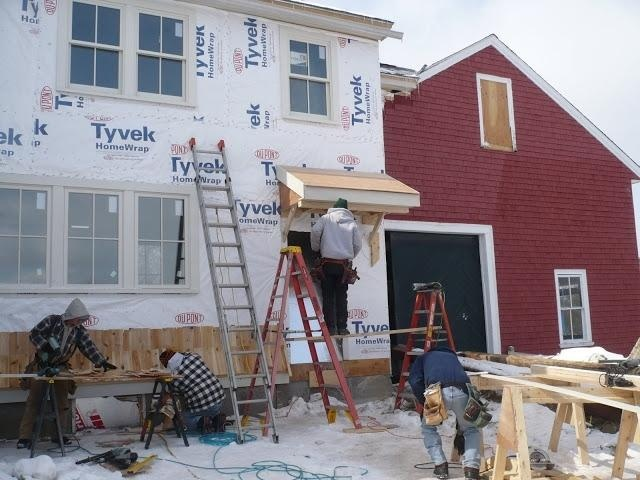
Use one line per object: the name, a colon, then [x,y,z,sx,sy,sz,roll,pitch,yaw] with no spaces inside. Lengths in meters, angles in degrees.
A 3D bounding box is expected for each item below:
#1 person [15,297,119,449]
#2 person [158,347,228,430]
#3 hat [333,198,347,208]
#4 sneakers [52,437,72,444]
person: [-3.636,1.828,9.042,0.690,1.987,1.145,4,6,40]
person: [-1.842,2.226,9.473,0.791,1.232,0.518,-2,5,-26]
hat: [0.336,-0.620,10.662,0.193,0.125,0.126,8,8,27]
sneakers: [-3.560,2.790,8.998,0.298,0.120,0.106,2,-7,-2]
